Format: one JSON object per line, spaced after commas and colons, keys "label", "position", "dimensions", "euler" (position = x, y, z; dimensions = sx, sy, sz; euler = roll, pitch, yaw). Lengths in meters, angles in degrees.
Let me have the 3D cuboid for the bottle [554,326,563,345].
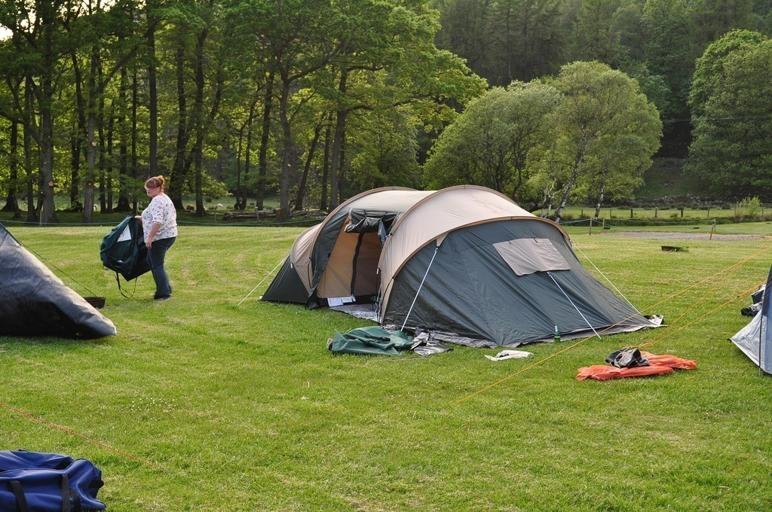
{"label": "bottle", "position": [5.315, 2.402, 26.450], "dimensions": [0.258, 0.477, 0.442], "euler": [1, 6, 10]}
